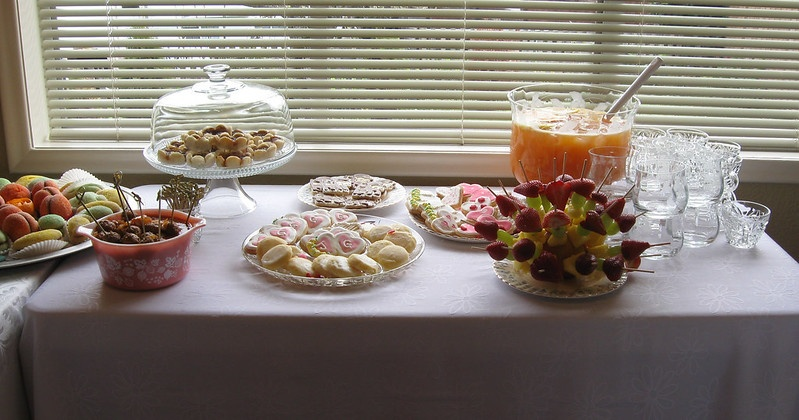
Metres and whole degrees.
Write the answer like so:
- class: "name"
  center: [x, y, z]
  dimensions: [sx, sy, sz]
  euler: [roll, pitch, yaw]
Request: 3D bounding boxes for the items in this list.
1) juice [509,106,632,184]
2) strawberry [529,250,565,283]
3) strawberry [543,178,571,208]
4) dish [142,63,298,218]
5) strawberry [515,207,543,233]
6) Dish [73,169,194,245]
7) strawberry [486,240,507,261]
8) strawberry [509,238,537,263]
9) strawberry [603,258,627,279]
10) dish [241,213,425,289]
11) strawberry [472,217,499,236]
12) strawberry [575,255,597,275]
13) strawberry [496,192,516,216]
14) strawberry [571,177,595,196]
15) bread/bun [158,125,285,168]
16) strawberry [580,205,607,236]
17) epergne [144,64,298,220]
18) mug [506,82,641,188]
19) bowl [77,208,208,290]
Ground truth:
- class: "juice"
  center: [0.644, -0.231, 1.896]
  dimensions: [0.453, 0.224, 0.403]
  euler: [1, 10, -14]
- class: "strawberry"
  center: [0.391, 0.156, 1.420]
  dimensions: [0.074, 0.084, 0.040]
  euler: [20, 34, 30]
- class: "strawberry"
  center: [0.430, -0.046, 1.443]
  dimensions: [0.075, 0.071, 0.030]
  euler: [3, 13, 22]
- class: "dish"
  center: [-0.689, -0.277, 1.994]
  dimensions: [0.627, 0.500, 0.570]
  euler: [10, 17, 25]
- class: "strawberry"
  center: [0.344, 0.029, 1.419]
  dimensions: [0.080, 0.052, 0.056]
  euler: [18, 23, 16]
- class: "Dish"
  center: [-0.744, -0.005, 1.468]
  dimensions: [0.304, 0.083, 0.214]
  euler: [0, 29, -8]
- class: "strawberry"
  center: [0.258, 0.112, 1.466]
  dimensions: [0.064, 0.040, 0.039]
  euler: [4, 46, -2]
- class: "strawberry"
  center: [0.338, 0.109, 1.438]
  dimensions: [0.056, 0.039, 0.068]
  euler: [33, 78, 26]
- class: "strawberry"
  center: [0.571, 0.159, 1.404]
  dimensions: [0.053, 0.035, 0.057]
  euler: [7, 69, 6]
- class: "dish"
  center: [-0.194, 0.096, 1.616]
  dimensions: [0.488, 0.067, 0.438]
  euler: [-10, 30, -14]
- class: "strawberry"
  center: [0.235, 0.045, 1.503]
  dimensions: [0.061, 0.029, 0.052]
  euler: [-14, 71, -10]
- class: "strawberry"
  center: [0.501, 0.148, 1.421]
  dimensions: [0.063, 0.062, 0.036]
  euler: [6, 29, 8]
- class: "strawberry"
  center: [0.293, -0.017, 1.460]
  dimensions: [0.045, 0.068, 0.028]
  euler: [-45, 2, -12]
- class: "strawberry"
  center: [0.501, -0.071, 1.441]
  dimensions: [0.046, 0.021, 0.057]
  euler: [24, 47, 21]
- class: "bread/bun"
  center: [-0.596, -0.219, 1.769]
  dimensions: [0.413, 0.109, 0.191]
  euler: [-2, 26, -7]
- class: "strawberry"
  center: [0.512, 0.028, 1.412]
  dimensions: [0.059, 0.072, 0.029]
  euler: [-27, 12, 5]
- class: "epergne"
  center: [-0.517, -0.276, 1.975]
  dimensions: [0.639, 0.503, 0.569]
  euler: [2, 19, -1]
- class: "mug"
  center: [0.556, -0.293, 1.855]
  dimensions: [0.425, 0.261, 0.405]
  euler: [-7, 18, -23]
- class: "bowl"
  center: [-0.752, 0.119, 1.552]
  dimensions: [0.274, 0.128, 0.261]
  euler: [5, 20, -2]
